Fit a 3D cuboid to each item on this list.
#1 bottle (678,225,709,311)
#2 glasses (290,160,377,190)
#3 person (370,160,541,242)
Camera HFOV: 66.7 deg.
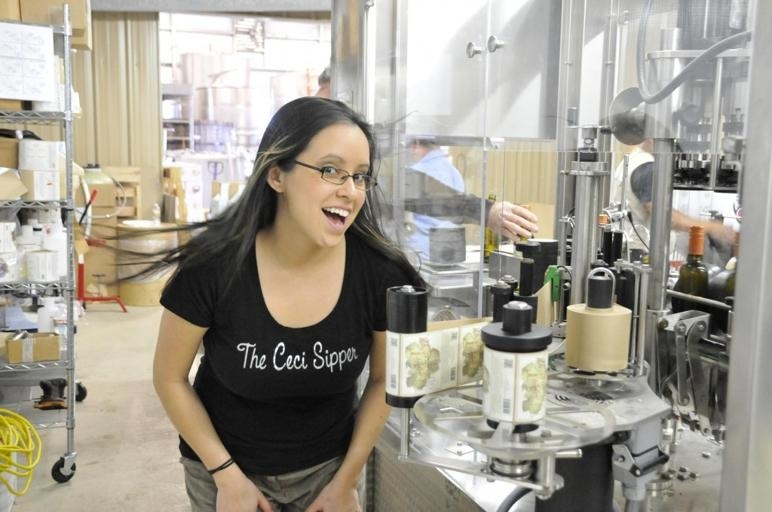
[{"bbox_3d":[0.843,0.010,1.595,0.068,0.178,0.091,3,12,11],"label":"bottle"},{"bbox_3d":[-0.153,-0.226,1.616,0.196,0.072,0.075,-2,12,-13],"label":"glasses"},{"bbox_3d":[0.298,-0.203,2.327,0.180,0.300,0.934,-14,20,-27],"label":"person"}]
